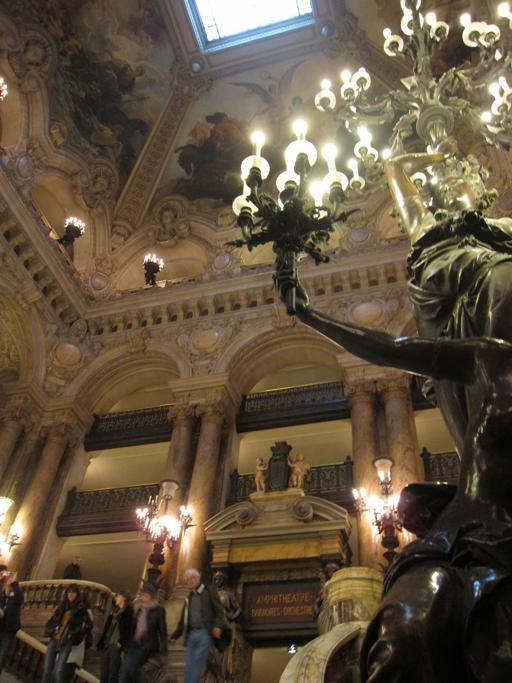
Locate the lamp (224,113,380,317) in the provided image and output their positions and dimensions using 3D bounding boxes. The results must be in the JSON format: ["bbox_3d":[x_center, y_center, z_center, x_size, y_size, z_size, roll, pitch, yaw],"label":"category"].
[{"bbox_3d":[0.187,-0.702,3.083,0.564,0.771,0.601,-4,0,-2],"label":"lamp"}]
